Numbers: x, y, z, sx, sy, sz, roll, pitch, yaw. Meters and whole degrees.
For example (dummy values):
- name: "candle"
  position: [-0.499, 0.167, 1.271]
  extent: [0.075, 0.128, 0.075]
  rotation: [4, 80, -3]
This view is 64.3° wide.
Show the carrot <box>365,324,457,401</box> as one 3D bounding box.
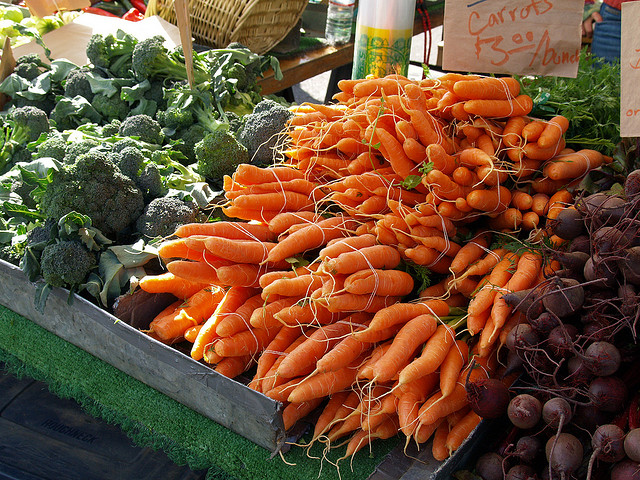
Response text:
- name: "carrot"
  position: [0.346, 0.467, 1.919]
  extent: [0.367, 0.089, 0.079]
  rotation: [-39, 26, -29]

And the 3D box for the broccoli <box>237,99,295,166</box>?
- name: "broccoli"
  position: [-0.286, -0.569, 2.707]
  extent: [0.262, 0.367, 0.166]
  rotation: [6, 5, 3]

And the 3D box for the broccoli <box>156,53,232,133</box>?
- name: "broccoli"
  position: [-0.733, -0.949, 3.039]
  extent: [0.392, 0.174, 0.480]
  rotation: [13, 53, 11]

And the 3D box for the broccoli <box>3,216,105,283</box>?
- name: "broccoli"
  position: [-1.153, 0.107, 2.292]
  extent: [0.323, 0.113, 0.335]
  rotation: [6, 39, 31]

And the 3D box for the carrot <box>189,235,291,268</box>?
- name: "carrot"
  position: [-0.335, 0.038, 2.176]
  extent: [0.419, 0.112, 0.093]
  rotation: [8, -5, -31]

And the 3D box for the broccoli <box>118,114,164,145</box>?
- name: "broccoli"
  position: [-0.993, -0.601, 2.837]
  extent: [0.183, 0.115, 0.164]
  rotation: [-1, -30, 18]

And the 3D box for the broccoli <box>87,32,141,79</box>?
- name: "broccoli"
  position: [-1.388, -1.304, 3.359]
  extent: [0.305, 0.197, 0.232]
  rotation: [31, 62, 22]

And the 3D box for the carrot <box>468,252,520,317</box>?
- name: "carrot"
  position: [0.694, 0.165, 2.129]
  extent: [0.098, 0.113, 0.475]
  rotation: [-25, 12, 40]

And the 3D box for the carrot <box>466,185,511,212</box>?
- name: "carrot"
  position: [0.710, -0.172, 2.149]
  extent: [0.195, 0.095, 0.093]
  rotation: [-5, 51, -38]

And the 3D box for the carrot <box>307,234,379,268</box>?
- name: "carrot"
  position: [0.102, 0.043, 2.118]
  extent: [0.211, 0.053, 0.051]
  rotation: [-23, 45, -20]

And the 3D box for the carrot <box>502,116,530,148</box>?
- name: "carrot"
  position: [0.855, -0.492, 2.249]
  extent: [0.083, 0.072, 0.189]
  rotation: [28, 53, 6]

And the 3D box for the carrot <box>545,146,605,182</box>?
- name: "carrot"
  position: [1.080, -0.337, 2.194]
  extent: [0.268, 0.114, 0.113]
  rotation: [-21, 38, -26]

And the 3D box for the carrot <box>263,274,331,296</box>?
- name: "carrot"
  position: [-0.095, 0.176, 2.061]
  extent: [0.264, 0.100, 0.106]
  rotation: [3, 11, -8]

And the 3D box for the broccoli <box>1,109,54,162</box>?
- name: "broccoli"
  position: [-1.756, -0.633, 3.090]
  extent: [0.529, 0.311, 0.242]
  rotation: [11, 13, 29]

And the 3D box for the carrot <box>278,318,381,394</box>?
- name: "carrot"
  position: [0.040, 0.456, 1.970]
  extent: [0.440, 0.079, 0.075]
  rotation: [-35, 1, -27]

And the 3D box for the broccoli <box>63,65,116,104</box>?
- name: "broccoli"
  position: [-1.487, -1.024, 3.336]
  extent: [0.224, 0.287, 0.160]
  rotation: [53, 30, 15]

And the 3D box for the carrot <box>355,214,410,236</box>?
- name: "carrot"
  position: [0.267, -0.090, 2.192]
  extent: [0.230, 0.055, 0.058]
  rotation: [18, 39, 23]

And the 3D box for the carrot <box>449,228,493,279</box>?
- name: "carrot"
  position: [0.626, 0.075, 2.202]
  extent: [0.092, 0.110, 0.396]
  rotation: [20, 17, 23]

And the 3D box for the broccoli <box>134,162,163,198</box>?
- name: "broccoli"
  position: [-0.837, -0.293, 2.495]
  extent: [0.111, 0.156, 0.057]
  rotation: [0, 20, 9]

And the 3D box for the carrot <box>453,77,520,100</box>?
- name: "carrot"
  position: [0.735, -0.665, 2.226]
  extent: [0.362, 0.116, 0.070]
  rotation: [-2, 12, -31]

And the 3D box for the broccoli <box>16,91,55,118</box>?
- name: "broccoli"
  position: [-1.852, -0.902, 3.329]
  extent: [0.195, 0.121, 0.161]
  rotation: [21, 7, -3]

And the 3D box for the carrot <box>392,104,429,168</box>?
- name: "carrot"
  position: [0.397, -0.424, 2.181]
  extent: [0.066, 0.294, 0.076]
  rotation: [-31, 0, -3]

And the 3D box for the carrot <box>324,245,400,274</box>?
- name: "carrot"
  position: [0.191, 0.073, 2.141]
  extent: [0.359, 0.116, 0.110]
  rotation: [-14, 3, -40]

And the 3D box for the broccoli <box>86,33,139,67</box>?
- name: "broccoli"
  position: [-1.344, -1.248, 3.331]
  extent: [0.283, 0.218, 0.161]
  rotation: [-21, 42, -16]

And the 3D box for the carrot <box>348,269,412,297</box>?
- name: "carrot"
  position: [0.239, 0.180, 2.115]
  extent: [0.308, 0.110, 0.099]
  rotation: [4, -12, -37]

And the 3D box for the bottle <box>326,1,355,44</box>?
- name: "bottle"
  position: [0.160, -1.769, 4.164]
  extent: [0.218, 0.330, 0.278]
  rotation: [4, 11, 0]

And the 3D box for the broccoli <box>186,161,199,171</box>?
- name: "broccoli"
  position: [-0.690, -0.404, 2.764]
  extent: [0.029, 0.035, 0.102]
  rotation: [11, 18, 4]

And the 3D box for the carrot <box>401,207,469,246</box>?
- name: "carrot"
  position: [0.470, -0.063, 2.148]
  extent: [0.231, 0.051, 0.041]
  rotation: [34, -27, -17]

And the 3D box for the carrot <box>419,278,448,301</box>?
- name: "carrot"
  position: [0.483, 0.213, 2.151]
  extent: [0.169, 0.053, 0.050]
  rotation: [-27, 9, -30]

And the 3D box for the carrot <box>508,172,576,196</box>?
- name: "carrot"
  position: [0.961, -0.239, 2.232]
  extent: [0.267, 0.069, 0.063]
  rotation: [-5, -14, 35]
